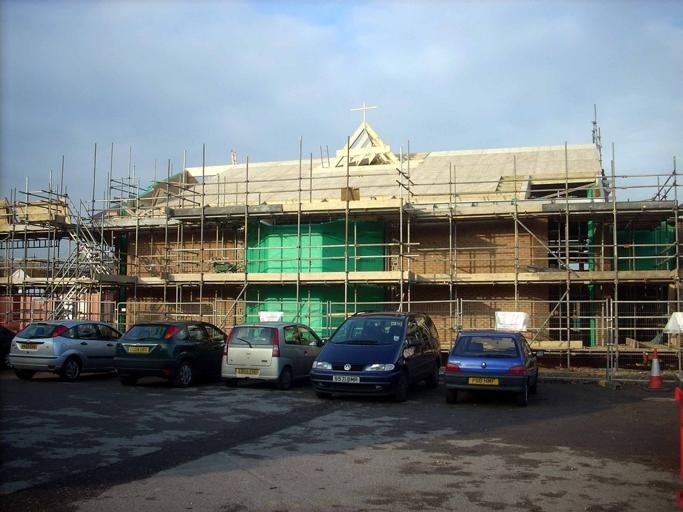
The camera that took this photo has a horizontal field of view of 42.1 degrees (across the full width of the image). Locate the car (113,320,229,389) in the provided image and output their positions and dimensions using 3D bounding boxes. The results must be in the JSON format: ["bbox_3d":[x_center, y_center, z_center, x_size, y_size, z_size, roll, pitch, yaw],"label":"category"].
[{"bbox_3d":[-4.106,2.411,22.597,1.595,1.022,2.701,-2,-1,22],"label":"car"}]

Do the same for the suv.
[{"bbox_3d":[1.053,2.340,21.084,1.699,1.156,3.007,-4,-8,23],"label":"suv"}]

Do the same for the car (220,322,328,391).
[{"bbox_3d":[-1.678,2.409,22.148,1.472,0.915,2.326,-2,-1,23],"label":"car"}]

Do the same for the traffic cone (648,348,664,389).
[{"bbox_3d":[8.050,2.842,22.624,0.337,1.009,0.837,4,6,19],"label":"traffic cone"}]

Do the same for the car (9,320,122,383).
[{"bbox_3d":[-7.085,2.424,23.224,1.551,0.996,2.786,-2,-1,27],"label":"car"}]
